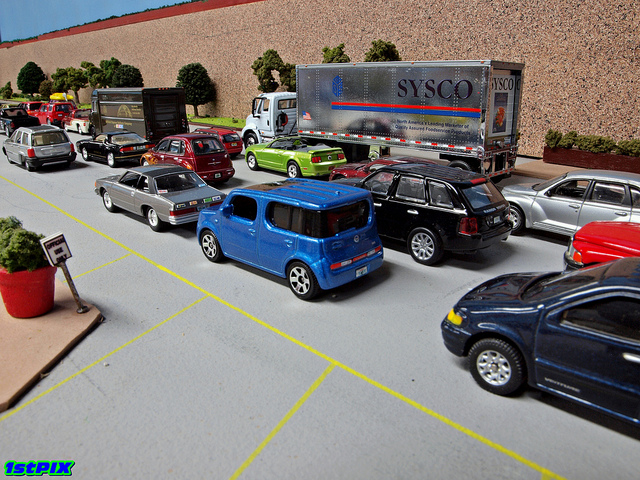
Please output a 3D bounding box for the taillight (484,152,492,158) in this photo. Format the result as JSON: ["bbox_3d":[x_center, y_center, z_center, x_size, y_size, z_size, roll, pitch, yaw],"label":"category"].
[{"bbox_3d":[6.048,-3.066,13.407,0.036,0.218,0.671,16,28,41],"label":"taillight"}]

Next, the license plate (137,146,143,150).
[{"bbox_3d":[-8.955,-4.607,18.500,0.206,0.126,0.021,-4,8,-26],"label":"license plate"}]

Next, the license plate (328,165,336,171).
[{"bbox_3d":[0.541,-3.029,15.760,0.296,0.081,0.278,-21,22,-29],"label":"license plate"}]

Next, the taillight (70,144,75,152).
[{"bbox_3d":[-12.492,-4.652,18.791,0.144,0.362,0.630,-12,22,-23],"label":"taillight"}]

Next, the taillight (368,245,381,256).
[{"bbox_3d":[1.164,0.215,8.044,0.191,0.053,0.185,-35,11,-39],"label":"taillight"}]

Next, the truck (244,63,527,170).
[{"bbox_3d":[3.252,-5.527,16.350,9.718,4.236,3.155,14,26,37],"label":"truck"}]

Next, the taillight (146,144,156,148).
[{"bbox_3d":[-8.522,-4.801,18.944,0.265,0.145,0.634,0,21,8],"label":"taillight"}]

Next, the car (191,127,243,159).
[{"bbox_3d":[-6.140,-5.336,20.780,3.732,1.681,1.717,11,25,28],"label":"car"}]

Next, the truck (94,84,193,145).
[{"bbox_3d":[-10.699,-7.450,22.658,6.288,3.527,3.478,19,29,31],"label":"truck"}]

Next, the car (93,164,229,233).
[{"bbox_3d":[-5.323,-1.740,12.166,4.563,1.689,2.265,20,29,36],"label":"car"}]

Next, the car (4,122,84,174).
[{"bbox_3d":[-13.971,-4.474,18.515,3.462,2.198,2.114,-4,21,-2],"label":"car"}]

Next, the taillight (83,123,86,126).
[{"bbox_3d":[-17.876,-8.808,28.316,0.206,0.208,0.050,3,-7,21],"label":"taillight"}]

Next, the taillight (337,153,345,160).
[{"bbox_3d":[0.902,-3.629,16.142,0.308,0.159,0.185,20,33,38],"label":"taillight"}]

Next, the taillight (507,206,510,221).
[{"bbox_3d":[5.488,-0.817,10.811,0.047,0.452,0.349,7,23,25],"label":"taillight"}]

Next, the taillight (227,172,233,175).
[{"bbox_3d":[-3.732,-2.786,15.504,0.033,0.077,0.246,12,25,34],"label":"taillight"}]

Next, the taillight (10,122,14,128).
[{"bbox_3d":[-21.552,-8.072,26.150,0.252,0.334,0.060,-6,20,-9],"label":"taillight"}]

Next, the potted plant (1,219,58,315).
[{"bbox_3d":[-5.352,0.641,6.841,0.899,1.627,0.400,-9,21,-17],"label":"potted plant"}]

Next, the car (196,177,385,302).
[{"bbox_3d":[-0.729,-0.252,8.763,3.879,1.957,2.182,18,28,35],"label":"car"}]

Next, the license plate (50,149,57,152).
[{"bbox_3d":[-12.956,-4.346,18.127,0.258,0.118,0.069,-10,21,-18],"label":"license plate"}]
